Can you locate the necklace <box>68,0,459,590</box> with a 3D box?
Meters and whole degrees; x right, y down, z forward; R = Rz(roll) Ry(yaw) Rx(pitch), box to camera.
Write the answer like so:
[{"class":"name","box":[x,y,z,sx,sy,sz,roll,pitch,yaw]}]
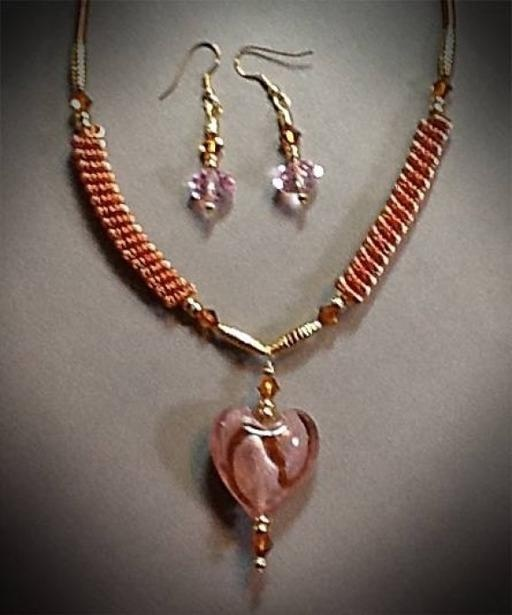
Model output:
[{"class":"necklace","box":[0.000,0.011,1.345,0.531,0.861,0.068,1,-15,-1]}]
